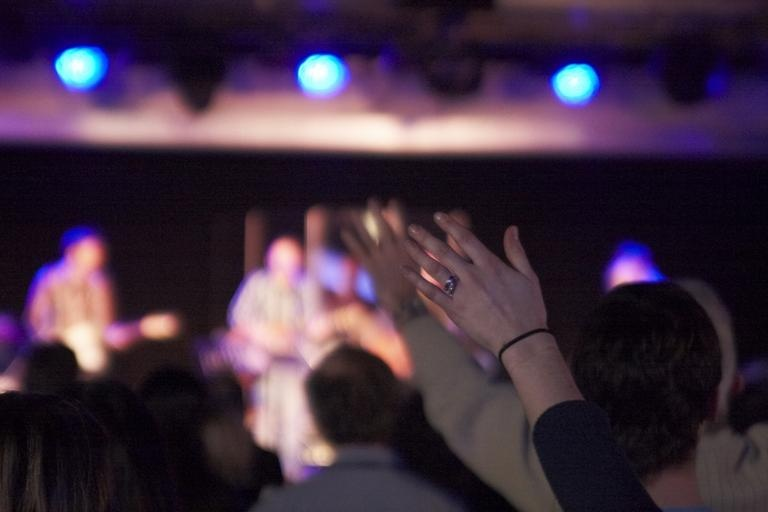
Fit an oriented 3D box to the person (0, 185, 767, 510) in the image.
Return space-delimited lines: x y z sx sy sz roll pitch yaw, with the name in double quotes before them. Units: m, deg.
"person" -0.218 0.397 2.518 1.536 0.446 1.032 3 30 7
